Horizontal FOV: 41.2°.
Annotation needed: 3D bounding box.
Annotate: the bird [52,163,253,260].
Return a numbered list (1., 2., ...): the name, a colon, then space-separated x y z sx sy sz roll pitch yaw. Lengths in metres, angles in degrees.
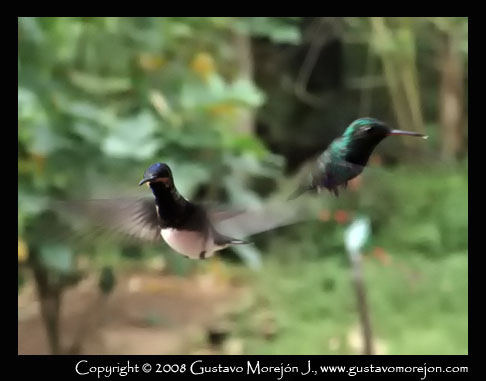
1. bird: -0.258 0.079 1.853 0.459 0.310 0.184 -8 88 21

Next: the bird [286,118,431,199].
1. bird: 0.296 -0.089 1.758 0.417 0.193 0.124 -6 7 30
